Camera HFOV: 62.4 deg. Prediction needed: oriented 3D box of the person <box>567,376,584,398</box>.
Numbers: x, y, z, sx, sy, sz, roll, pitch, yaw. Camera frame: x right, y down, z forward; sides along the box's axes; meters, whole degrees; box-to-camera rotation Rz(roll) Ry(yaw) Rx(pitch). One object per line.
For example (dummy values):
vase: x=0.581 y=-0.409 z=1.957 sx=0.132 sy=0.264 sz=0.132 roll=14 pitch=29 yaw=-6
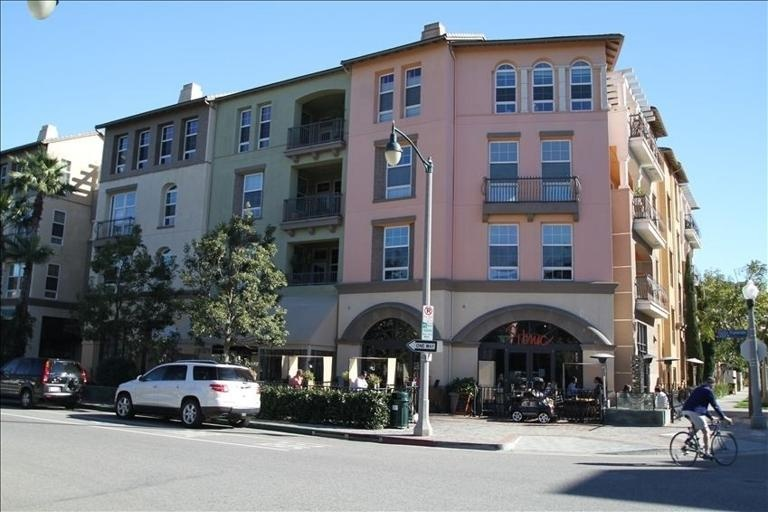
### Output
person: x=9.011 y=6.217 z=30.103 sx=0.784 sy=1.089 sz=1.373 roll=-3 pitch=-16 yaw=20

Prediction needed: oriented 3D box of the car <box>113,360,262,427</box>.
car: x=-7.698 y=5.367 z=24.563 sx=5.988 sy=2.441 sz=1.978 roll=-6 pitch=-16 yaw=27

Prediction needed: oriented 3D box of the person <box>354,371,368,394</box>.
person: x=-1.002 y=5.499 z=27.250 sx=0.486 sy=0.807 sz=0.640 roll=-3 pitch=-7 yaw=21

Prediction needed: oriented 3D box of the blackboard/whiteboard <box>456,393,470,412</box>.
blackboard/whiteboard: x=3.734 y=7.041 z=30.243 sx=0.639 sy=0.877 sz=0.277 roll=3 pitch=-14 yaw=-3

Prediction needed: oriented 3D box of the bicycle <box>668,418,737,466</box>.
bicycle: x=9.532 y=5.540 z=18.903 sx=2.338 sy=1.467 sz=1.164 roll=-3 pitch=-11 yaw=1

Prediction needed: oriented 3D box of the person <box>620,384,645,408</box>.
person: x=11.038 y=6.293 z=28.398 sx=1.178 sy=1.204 sz=0.854 roll=-2 pitch=-4 yaw=13
